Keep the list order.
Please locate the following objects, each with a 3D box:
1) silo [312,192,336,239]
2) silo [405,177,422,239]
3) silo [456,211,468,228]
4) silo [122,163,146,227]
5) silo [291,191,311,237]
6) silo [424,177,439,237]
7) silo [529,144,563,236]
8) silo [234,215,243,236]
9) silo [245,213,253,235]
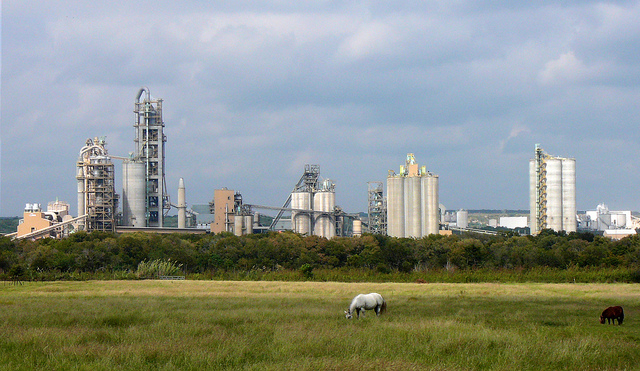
[{"bbox_3d":[1.048,8.743,383.979,6.017,13.035,8.221,-1,-7,-1],"label":"silo"},{"bbox_3d":[24.911,6.451,375.647,4.914,16.369,3.159,-4,-8,26],"label":"silo"},{"bbox_3d":[49.159,12.497,483.932,3.217,5.528,7.562,-1,-7,3],"label":"silo"},{"bbox_3d":[-48.676,3.251,363.729,5.349,16.492,1.877,1,-7,-16],"label":"silo"},{"bbox_3d":[-5.341,8.220,385.015,4.876,12.170,9.424,-1,-7,-1],"label":"silo"},{"bbox_3d":[29.724,5.959,374.271,3.630,15.256,3.887,-1,-7,3],"label":"silo"},{"bbox_3d":[64.561,3.890,397.466,8.286,25.631,10.674,-1,2,42],"label":"silo"},{"bbox_3d":[-21.689,11.160,371.027,2.021,5.059,1.881,0,-7,-2],"label":"silo"},{"bbox_3d":[-19.121,10.762,372.650,1.802,5.499,4.295,-1,-7,3],"label":"silo"}]
